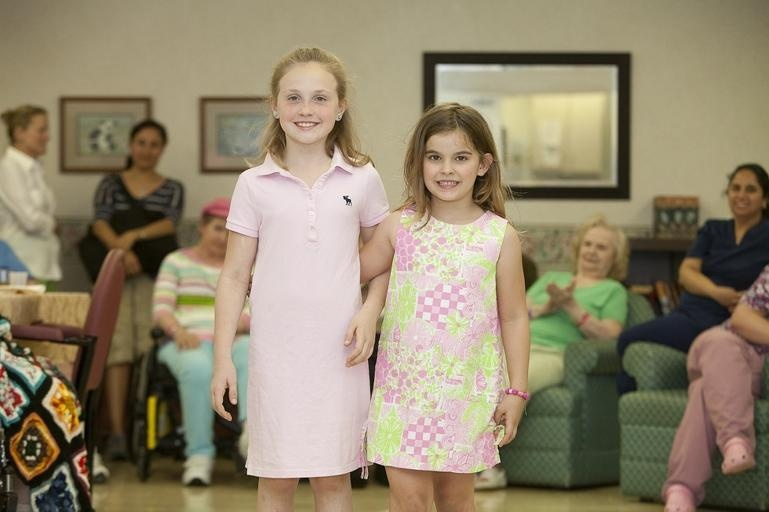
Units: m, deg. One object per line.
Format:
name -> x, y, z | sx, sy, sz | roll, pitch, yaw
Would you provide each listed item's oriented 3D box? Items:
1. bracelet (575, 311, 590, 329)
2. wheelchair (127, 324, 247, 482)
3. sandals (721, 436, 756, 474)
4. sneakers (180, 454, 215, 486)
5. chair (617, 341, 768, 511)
bracelet -> 1.030, 0.328, 3.826 | 0.017, 0.067, 0.068 | 40, 0, 24
wheelchair -> -0.992, 0.806, 4.268 | 0.599, 1.145, 0.911 | 1, 6, -2
sandals -> 1.426, 0.799, 2.976 | 0.125, 0.134, 0.093 | 0, 3, 13
sneakers -> -0.996, 1.126, 3.936 | 0.156, 0.150, 0.160 | -1, 3, -16
chair -> 1.456, 0.776, 3.542 | 0.664, 0.688, 0.639 | -5, -12, 33
